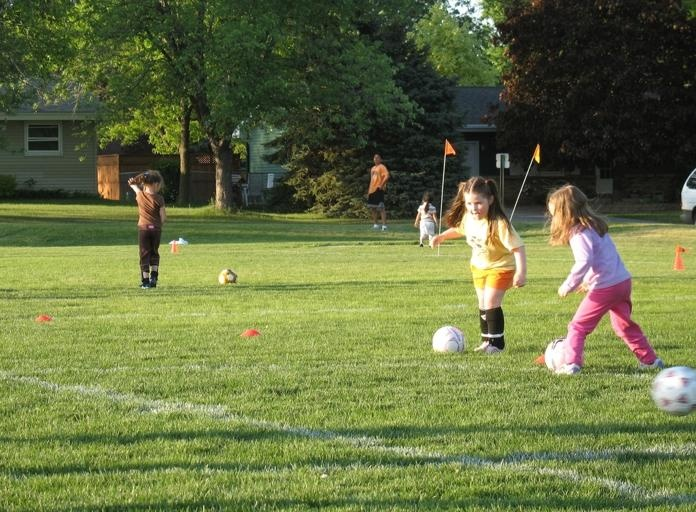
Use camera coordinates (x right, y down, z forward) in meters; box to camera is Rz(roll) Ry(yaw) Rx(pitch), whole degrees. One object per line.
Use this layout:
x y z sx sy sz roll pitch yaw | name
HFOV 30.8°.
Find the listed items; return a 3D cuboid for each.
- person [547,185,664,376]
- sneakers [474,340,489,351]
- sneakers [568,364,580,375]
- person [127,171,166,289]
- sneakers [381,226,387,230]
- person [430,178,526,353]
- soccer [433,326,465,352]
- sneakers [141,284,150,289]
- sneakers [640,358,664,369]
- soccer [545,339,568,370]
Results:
3.519 0.346 17.926 1.329 2.647 0.452 -1 3 -10 | person
1.932 1.358 18.625 0.098 0.119 0.271 3 -4 -30 | sneakers
3.155 1.617 17.758 0.111 0.154 0.152 -4 41 19 | sneakers
-3.624 -0.496 23.151 0.574 2.114 1.100 -1 3 -10 | person
1.071 -0.805 37.415 0.101 0.141 0.203 -1 -6 5 | sneakers
2.022 0.142 18.564 1.206 2.586 0.516 1 4 20 | person
1.478 1.241 18.512 0.389 0.384 0.387 -14 21 -26 | soccer
-3.601 0.555 22.725 0.068 0.088 0.199 -1 -3 -35 | sneakers
4.278 1.574 17.912 0.314 0.148 0.138 -8 8 -12 | sneakers
2.922 1.334 18.060 0.339 0.334 0.265 -21 42 -10 | soccer
